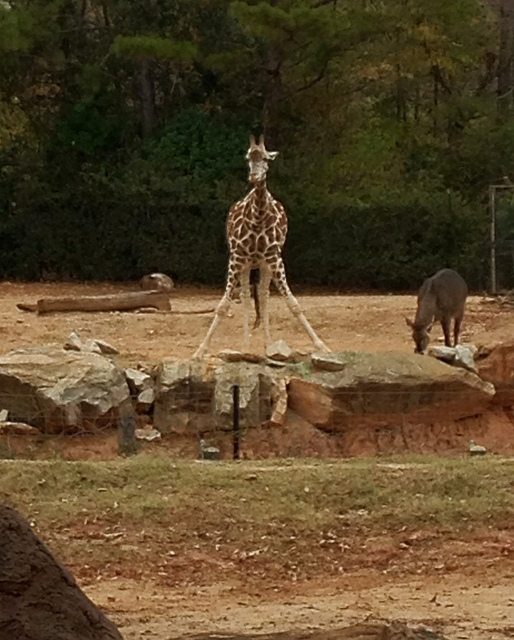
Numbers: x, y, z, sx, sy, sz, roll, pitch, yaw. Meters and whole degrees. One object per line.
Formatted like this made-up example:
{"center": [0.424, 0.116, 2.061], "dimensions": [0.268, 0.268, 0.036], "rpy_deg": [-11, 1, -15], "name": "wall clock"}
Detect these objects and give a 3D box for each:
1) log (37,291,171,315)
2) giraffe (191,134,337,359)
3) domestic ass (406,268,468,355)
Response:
{"center": [-2.506, -0.324, 27.744], "dimensions": [2.391, 0.370, 0.241], "rpy_deg": [0, 5, -33], "name": "log"}
{"center": [0.073, -1.082, 24.759], "dimensions": [1.727, 3.602, 1.337], "rpy_deg": [2, 3, 44], "name": "giraffe"}
{"center": [2.708, -0.191, 25.501], "dimensions": [0.812, 1.144, 2.334], "rpy_deg": [3, 4, 7], "name": "domestic ass"}
